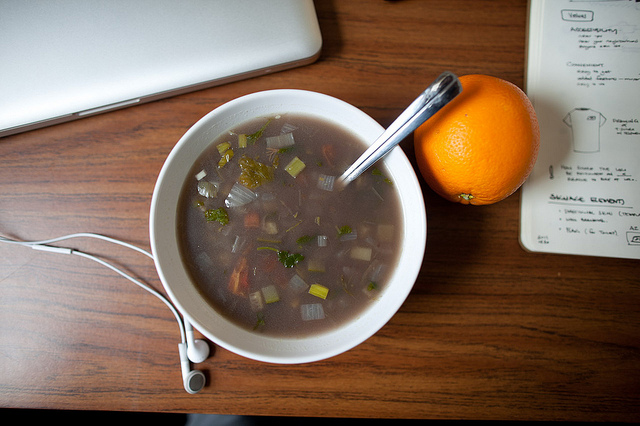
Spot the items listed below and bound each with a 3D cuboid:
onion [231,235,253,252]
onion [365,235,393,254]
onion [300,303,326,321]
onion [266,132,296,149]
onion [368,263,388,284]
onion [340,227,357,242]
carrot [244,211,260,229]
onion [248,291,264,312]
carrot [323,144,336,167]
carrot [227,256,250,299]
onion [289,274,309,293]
[{"bbox_3d":[-0.257,0.099,1.511,0.057,0.099,0.050,7,87,-3],"label":"onion"},{"bbox_3d":[0.198,0.101,1.527,0.088,0.021,0.056,16,88,-2],"label":"onion"},{"bbox_3d":[-0.021,0.321,1.502,0.092,0.020,0.054,-7,90,-3],"label":"onion"},{"bbox_3d":[-0.133,-0.240,1.537,0.119,0.023,0.049,-12,89,-4],"label":"onion"},{"bbox_3d":[0.192,0.196,1.519,0.041,0.019,0.079,45,82,-6],"label":"onion"},{"bbox_3d":[0.090,0.070,1.518,0.076,0.017,0.043,0,86,-2],"label":"onion"},{"bbox_3d":[-0.219,0.018,1.498,0.056,0.012,0.047,6,87,1],"label":"carrot"},{"bbox_3d":[-0.208,0.286,1.504,0.044,0.013,0.053,-17,87,-4],"label":"onion"},{"bbox_3d":[0.039,-0.189,1.524,0.039,0.014,0.067,-9,90,-5],"label":"carrot"},{"bbox_3d":[-0.264,0.211,1.506,0.087,0.032,0.118,8,86,3],"label":"carrot"},{"bbox_3d":[-0.065,0.228,1.477,0.049,0.013,0.055,-43,91,-1],"label":"onion"}]
